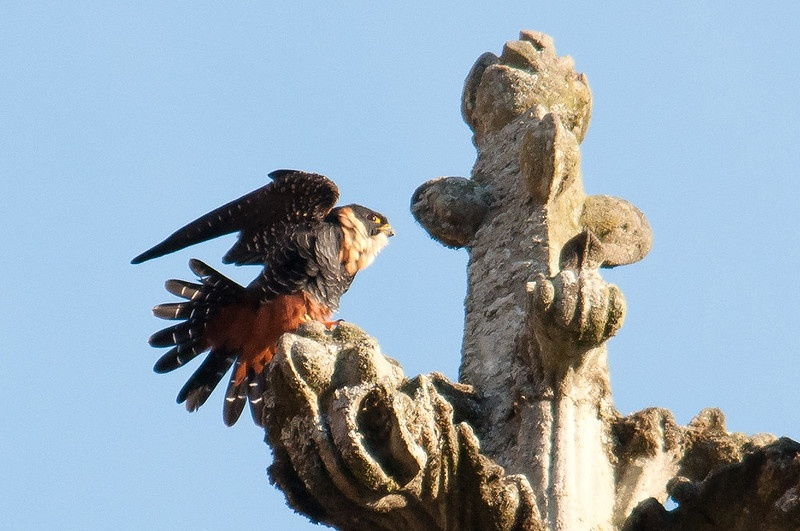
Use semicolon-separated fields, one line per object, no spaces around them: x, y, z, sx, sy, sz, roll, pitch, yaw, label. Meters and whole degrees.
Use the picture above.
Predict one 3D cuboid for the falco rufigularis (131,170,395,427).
-1.013;0.206;20.141;1.866;1.461;2.290;-2;-31;-11;falco rufigularis
